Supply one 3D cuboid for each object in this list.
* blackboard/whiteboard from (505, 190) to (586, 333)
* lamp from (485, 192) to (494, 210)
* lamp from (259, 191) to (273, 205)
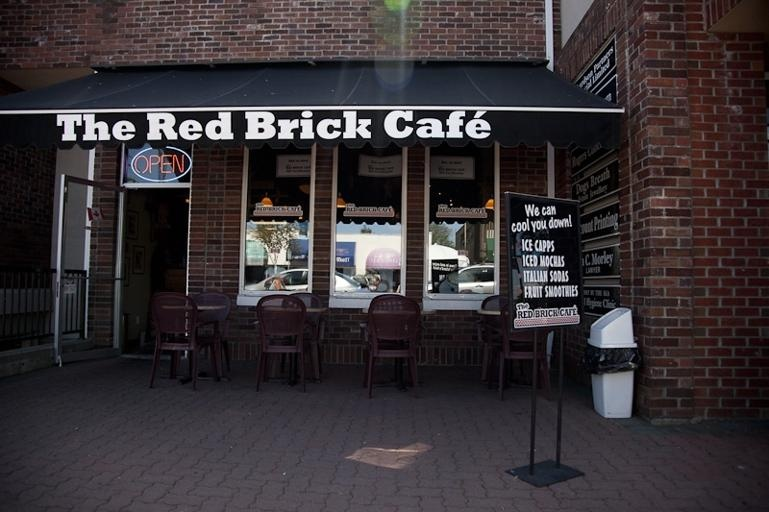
[{"bbox_3d":[1.951,0.053,8.017,1.085,1.599,0.372,-4,11,-20],"label":"blackboard/whiteboard"},{"bbox_3d":[1.990,-1.016,12.500,0.214,0.221,0.213,3,-5,-7],"label":"lamp"},{"bbox_3d":[-2.290,-1.114,12.736,0.247,0.161,0.391,3,2,-15],"label":"lamp"}]
